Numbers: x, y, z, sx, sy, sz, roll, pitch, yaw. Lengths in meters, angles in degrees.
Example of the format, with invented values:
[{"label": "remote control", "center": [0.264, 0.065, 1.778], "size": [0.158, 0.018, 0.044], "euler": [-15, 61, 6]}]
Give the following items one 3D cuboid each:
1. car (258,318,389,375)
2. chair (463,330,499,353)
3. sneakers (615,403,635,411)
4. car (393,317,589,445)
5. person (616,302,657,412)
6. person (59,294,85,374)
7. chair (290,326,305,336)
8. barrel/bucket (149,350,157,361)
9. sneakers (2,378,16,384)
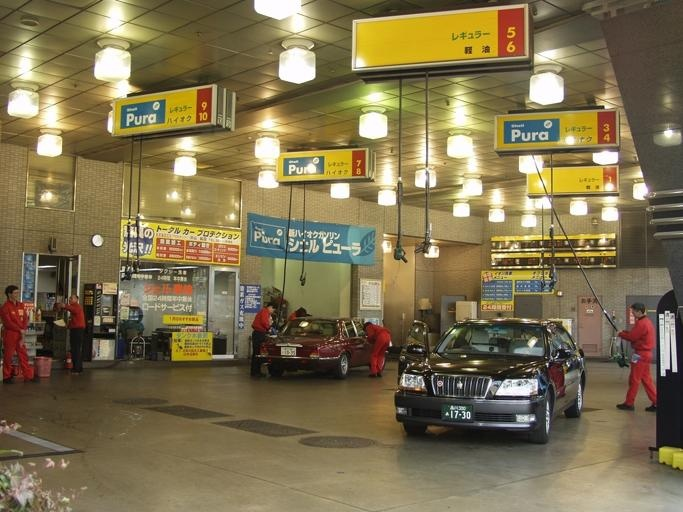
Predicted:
[{"label": "car", "center": [-0.330, 2.197, 14.469], "size": [1.355, 0.708, 2.724], "euler": [0, 0, 27]}, {"label": "chair", "center": [2.128, 1.292, 8.562], "size": [0.382, 0.283, 0.325], "euler": [0, -12, 9]}, {"label": "sneakers", "center": [5.074, 2.687, 10.216], "size": [0.319, 0.101, 0.112], "euler": [3, 2, 31]}, {"label": "car", "center": [2.181, 1.737, 8.238], "size": [1.736, 1.578, 2.881], "euler": [-4, -4, 33]}, {"label": "person", "center": [5.412, 1.835, 10.445], "size": [0.643, 1.928, 1.439], "euler": [-4, -4, 27]}, {"label": "person", "center": [-6.496, 1.870, 13.848], "size": [0.475, 1.867, 0.745], "euler": [0, -4, -27]}, {"label": "chair", "center": [-1.120, 1.900, 14.467], "size": [0.243, 0.182, 0.387], "euler": [2, -10, 7]}, {"label": "barrel/bucket", "center": [-5.687, 3.010, 17.290], "size": [0.121, 0.267, 0.404], "euler": [1, -4, -45]}, {"label": "sneakers", "center": [-6.886, 2.587, 11.863], "size": [0.212, 0.092, 0.172], "euler": [0, -4, -24]}]
